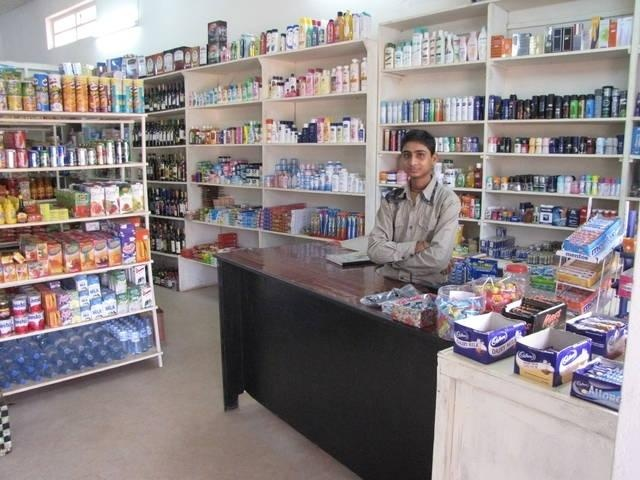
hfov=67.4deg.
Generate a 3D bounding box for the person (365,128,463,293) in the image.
[{"bbox_3d":[0.672,0.051,3.519,0.600,1.628,0.483,10,17,33],"label":"person"}]
